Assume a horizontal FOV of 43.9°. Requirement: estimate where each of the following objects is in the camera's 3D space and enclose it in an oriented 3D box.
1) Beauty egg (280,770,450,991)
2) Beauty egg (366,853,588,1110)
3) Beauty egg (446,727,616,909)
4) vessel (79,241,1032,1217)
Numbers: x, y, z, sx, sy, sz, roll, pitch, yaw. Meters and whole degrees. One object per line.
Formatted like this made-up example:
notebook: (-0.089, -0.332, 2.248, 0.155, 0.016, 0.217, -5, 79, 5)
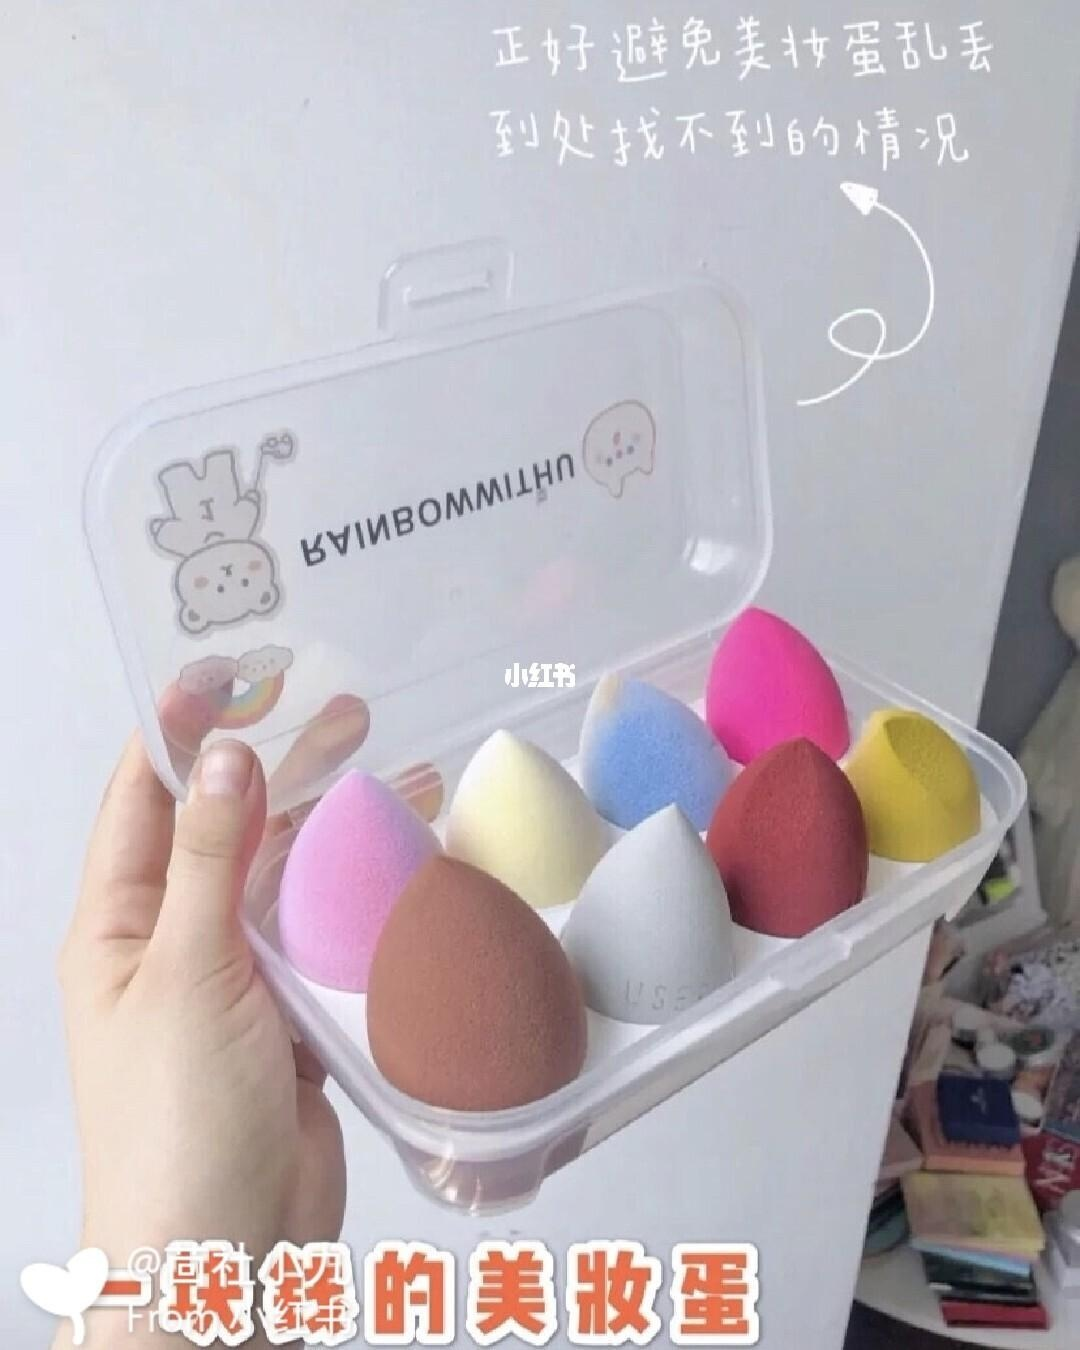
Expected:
Beauty egg: (-0.154, 0.166, 1.103, 0.142, 0.158, 0.179, 6, 78, 6)
Beauty egg: (-0.045, 0.222, 0.999, 0.162, 0.221, 0.140, -23, 68, 16)
Beauty egg: (-0.007, 0.123, 1.181, 0.132, 0.138, 0.139, 0, 39, 5)
vessel: (0.019, 0.034, 1.154, 0.657, 0.531, 0.546, -18, 48, -20)
